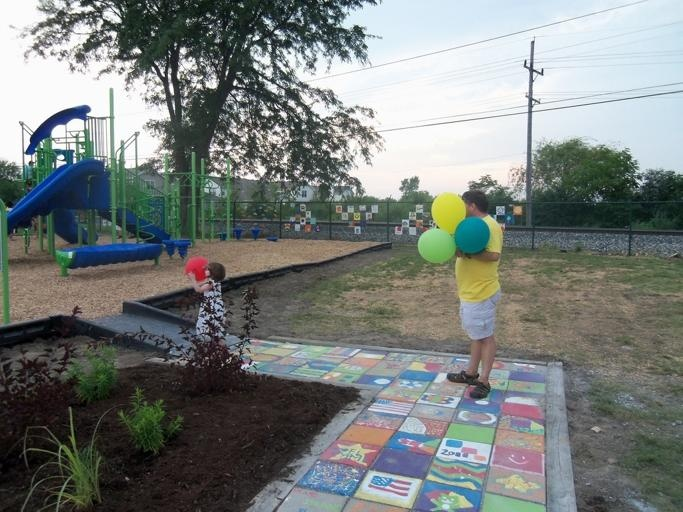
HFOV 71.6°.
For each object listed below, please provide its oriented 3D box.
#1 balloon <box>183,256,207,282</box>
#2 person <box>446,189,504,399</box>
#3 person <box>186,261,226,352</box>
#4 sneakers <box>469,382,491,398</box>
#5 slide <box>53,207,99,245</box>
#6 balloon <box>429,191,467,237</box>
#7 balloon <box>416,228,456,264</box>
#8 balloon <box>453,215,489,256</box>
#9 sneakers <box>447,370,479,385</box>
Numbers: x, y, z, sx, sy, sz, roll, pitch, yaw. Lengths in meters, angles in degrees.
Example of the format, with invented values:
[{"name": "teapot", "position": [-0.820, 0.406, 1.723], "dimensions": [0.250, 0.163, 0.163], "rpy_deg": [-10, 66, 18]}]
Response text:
[{"name": "balloon", "position": [-1.740, 0.157, 5.709], "dimensions": [0.236, 0.297, 0.416], "rpy_deg": [-1, 5, -15]}, {"name": "person", "position": [1.490, 0.373, 5.265], "dimensions": [0.530, 2.219, 0.675], "rpy_deg": [1, 4, 17]}, {"name": "person", "position": [-1.570, 0.560, 5.494], "dimensions": [0.434, 1.066, 1.220], "rpy_deg": [-1, 5, -17]}, {"name": "sneakers", "position": [1.510, 1.427, 5.079], "dimensions": [0.278, 0.152, 0.097], "rpy_deg": [-2, 5, -20]}, {"name": "slide", "position": [-10.320, -1.153, 18.242], "dimensions": [0.597, 1.243, 1.867], "rpy_deg": [-7, -9, 28]}, {"name": "balloon", "position": [1.253, -0.516, 5.517], "dimensions": [0.410, 0.467, 0.398], "rpy_deg": [0, -13, 6]}, {"name": "balloon", "position": [1.094, -0.118, 5.455], "dimensions": [0.423, 0.462, 0.421], "rpy_deg": [1, 22, 37]}, {"name": "balloon", "position": [1.421, -0.232, 5.158], "dimensions": [0.395, 0.428, 0.381], "rpy_deg": [-7, -2, -20]}, {"name": "sneakers", "position": [1.404, 1.380, 5.469], "dimensions": [0.355, 0.137, 0.140], "rpy_deg": [5, 3, 16]}]
